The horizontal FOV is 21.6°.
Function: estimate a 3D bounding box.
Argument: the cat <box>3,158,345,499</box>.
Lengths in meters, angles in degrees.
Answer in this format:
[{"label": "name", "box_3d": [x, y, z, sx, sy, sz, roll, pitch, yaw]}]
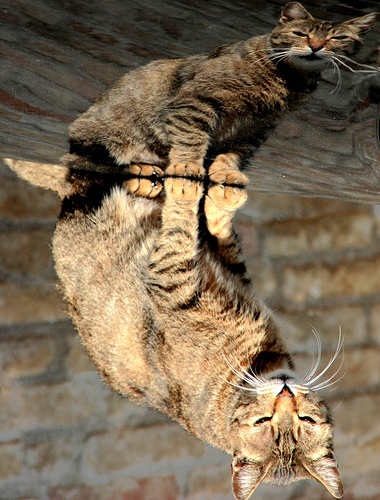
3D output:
[{"label": "cat", "box_3d": [-0.017, 0.117, 1.639, 0.475, 0.547, 0.391, 4, -7, -24]}]

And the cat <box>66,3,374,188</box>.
[{"label": "cat", "box_3d": [0.012, -0.197, 1.310, 0.328, 0.157, 0.409, 2, -6, -12]}]
